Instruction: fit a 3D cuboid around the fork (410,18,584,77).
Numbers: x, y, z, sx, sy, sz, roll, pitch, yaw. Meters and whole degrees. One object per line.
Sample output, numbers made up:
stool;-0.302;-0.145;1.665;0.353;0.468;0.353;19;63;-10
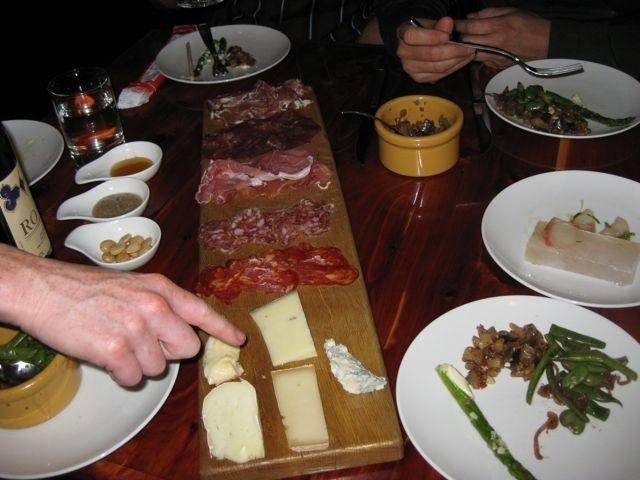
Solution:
fork;0.675;-0.743;1.874;0.629;0.089;0.073;28;37;19

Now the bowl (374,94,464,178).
bowl;0.310;-0.333;1.552;0.270;0.153;0.282;-5;42;5

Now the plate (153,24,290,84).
plate;-0.445;-0.892;2.332;0.578;0.061;0.583;-6;-3;-44

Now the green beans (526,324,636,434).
green beans;0.560;0.320;1.065;0.185;0.060;0.198;28;73;38
